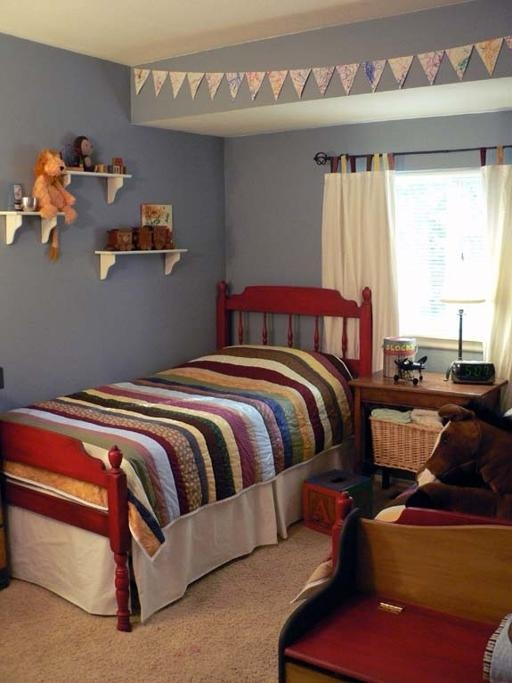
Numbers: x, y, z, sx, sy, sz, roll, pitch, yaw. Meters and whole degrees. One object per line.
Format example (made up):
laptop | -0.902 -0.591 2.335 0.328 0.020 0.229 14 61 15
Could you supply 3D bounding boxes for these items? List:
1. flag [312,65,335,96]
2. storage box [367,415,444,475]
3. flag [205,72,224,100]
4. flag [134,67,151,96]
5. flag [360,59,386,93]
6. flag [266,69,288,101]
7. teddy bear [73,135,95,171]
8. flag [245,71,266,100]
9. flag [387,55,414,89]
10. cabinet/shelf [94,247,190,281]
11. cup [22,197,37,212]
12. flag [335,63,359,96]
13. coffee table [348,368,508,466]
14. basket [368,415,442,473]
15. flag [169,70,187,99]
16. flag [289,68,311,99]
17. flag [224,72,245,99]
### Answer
flag | 0.335 -1.307 2.876 0.148 0.165 0.023 11 15 44
storage box | 0.820 0.562 3.231 0.298 0.283 0.414 1 0 -22
flag | -0.236 -1.468 3.297 0.137 0.179 0.019 15 13 33
flag | -0.723 -1.648 3.653 0.116 0.148 0.003 6 -4 28
flag | 0.550 -1.253 2.708 0.024 0.171 0.166 -4 5 -39
flag | 0.113 -1.361 3.047 0.151 0.237 0.010 11 12 38
teddy bear | -1.000 -1.089 3.334 0.161 0.204 0.091 -5 6 -38
flag | -0.001 -1.397 3.134 0.154 0.178 0.014 11 18 43
flag | 0.656 -1.231 2.621 0.023 0.169 0.148 -8 12 -38
cabinet/shelf | -0.710 -0.516 3.840 0.239 0.216 0.827 1 5 27
cup | -1.190 -0.714 3.051 0.085 0.063 0.085 2 2 0
flag | 0.442 -1.275 2.793 0.144 0.171 0.023 10 16 41
coffee table | 0.975 0.291 3.310 0.741 0.692 0.567 5 9 41
basket | 0.756 0.569 3.369 0.425 0.266 0.299 13 -2 -19
flag | -0.469 -1.546 3.449 0.130 0.151 0.010 3 6 38
flag | 0.227 -1.332 2.961 0.012 0.171 0.151 -13 17 -43
flag | -0.117 -1.435 3.217 0.148 0.166 0.009 10 17 38
